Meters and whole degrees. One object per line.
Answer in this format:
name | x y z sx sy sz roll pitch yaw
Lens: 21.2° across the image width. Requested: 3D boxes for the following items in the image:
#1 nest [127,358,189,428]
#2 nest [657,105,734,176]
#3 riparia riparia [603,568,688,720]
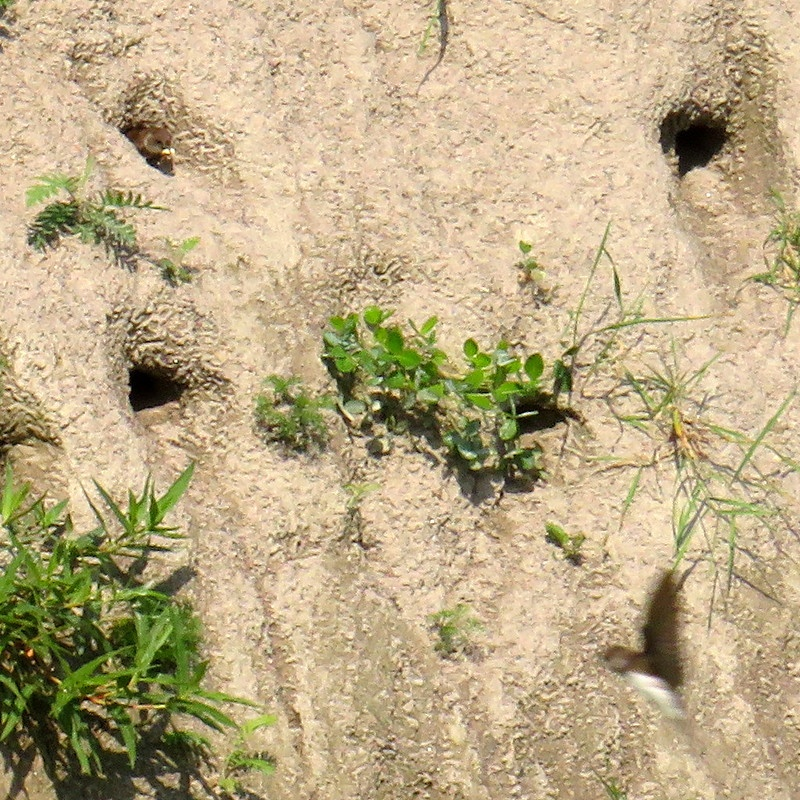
nest | -0.821 -0.006 7.204 0.159 0.187 0.227 -6 79 -7
nest | 1.042 -0.937 7.611 0.193 0.125 0.280 5 84 -6
riparia riparia | 0.901 0.843 7.188 0.342 0.056 0.385 39 82 6
